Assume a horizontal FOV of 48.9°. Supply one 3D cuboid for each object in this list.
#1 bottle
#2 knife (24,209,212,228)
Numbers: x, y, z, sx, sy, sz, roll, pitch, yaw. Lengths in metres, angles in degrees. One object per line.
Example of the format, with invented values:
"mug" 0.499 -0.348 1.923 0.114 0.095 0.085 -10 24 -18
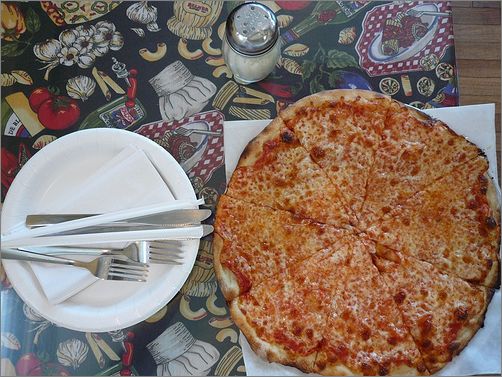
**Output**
"bottle" 0.000 -0.412 1.643 0.177 0.268 0.213 -4 87 0
"knife" -0.357 0.096 1.587 0.507 0.211 0.050 -3 78 7
